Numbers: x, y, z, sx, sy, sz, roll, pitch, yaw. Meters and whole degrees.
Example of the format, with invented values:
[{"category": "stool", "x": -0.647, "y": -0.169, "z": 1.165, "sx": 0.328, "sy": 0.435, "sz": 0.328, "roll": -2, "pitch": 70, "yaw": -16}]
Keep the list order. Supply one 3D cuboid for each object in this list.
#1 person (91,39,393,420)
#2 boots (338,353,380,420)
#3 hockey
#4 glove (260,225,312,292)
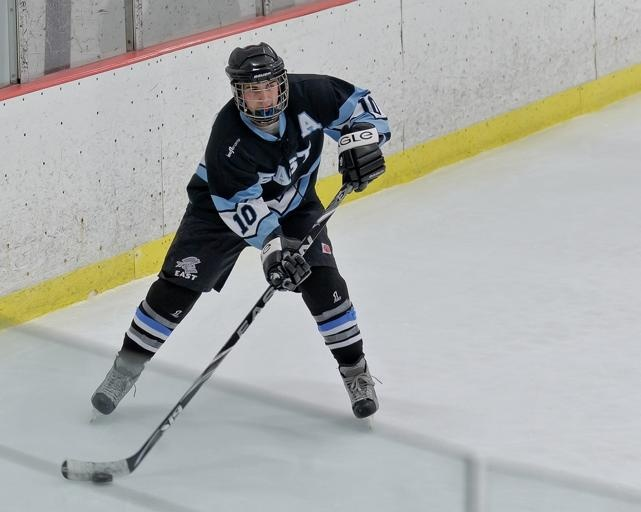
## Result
[{"category": "person", "x": -0.401, "y": -0.077, "z": 3.226, "sx": 1.485, "sy": 1.443, "sz": 0.866, "roll": -14, "pitch": 32, "yaw": -20}, {"category": "boots", "x": 0.120, "y": 0.480, "z": 2.903, "sx": 0.103, "sy": 0.126, "sz": 0.266, "roll": -21, "pitch": 44, "yaw": 13}, {"category": "hockey", "x": -0.467, "y": 0.316, "z": 3.063, "sx": 1.577, "sy": 0.210, "sz": 0.179, "roll": -40, "pitch": 33, "yaw": -10}, {"category": "glove", "x": -0.144, "y": -0.021, "z": 2.819, "sx": 0.148, "sy": 0.198, "sz": 0.332, "roll": 29, "pitch": 9, "yaw": -15}]
